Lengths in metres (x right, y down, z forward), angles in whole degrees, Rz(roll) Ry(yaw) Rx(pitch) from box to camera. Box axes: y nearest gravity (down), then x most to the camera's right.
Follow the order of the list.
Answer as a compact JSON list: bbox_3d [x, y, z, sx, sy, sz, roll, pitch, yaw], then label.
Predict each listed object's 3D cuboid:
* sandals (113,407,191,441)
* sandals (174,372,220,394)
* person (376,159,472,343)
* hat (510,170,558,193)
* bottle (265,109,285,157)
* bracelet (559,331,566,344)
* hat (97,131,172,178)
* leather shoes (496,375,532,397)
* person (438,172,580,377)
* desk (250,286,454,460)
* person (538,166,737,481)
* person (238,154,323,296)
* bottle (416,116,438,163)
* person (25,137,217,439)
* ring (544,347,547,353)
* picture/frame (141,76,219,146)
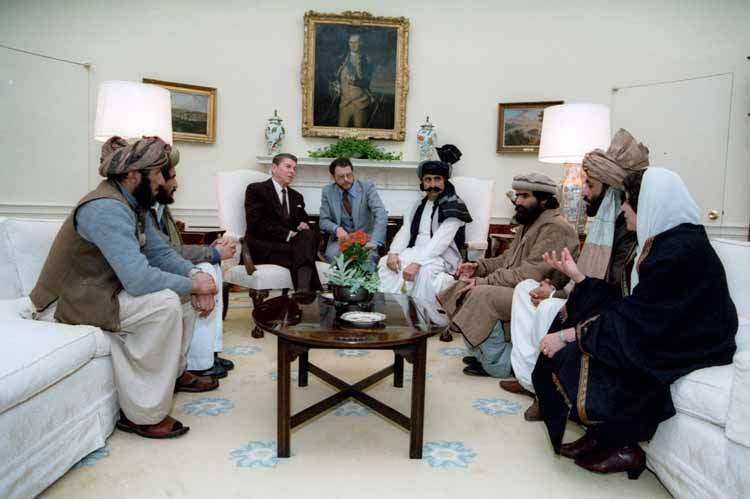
[{"bbox_3d":[-1.391,1.073,3.219,0.361,0.151,0.174,2,-2,1],"label":"sandals"},{"bbox_3d":[-1.285,0.960,3.743,0.340,0.133,0.119,-2,7,-4],"label":"sandals"},{"bbox_3d":[0.422,-0.026,5.106,0.992,1.536,0.907,3,15,10],"label":"person"},{"bbox_3d":[1.256,-0.539,4.240,0.221,0.095,0.236,5,5,-30],"label":"hat"},{"bbox_3d":[-1.228,-1.418,6.344,0.224,0.526,0.281,-2,13,-12],"label":"bottle"},{"bbox_3d":[1.124,0.525,3.129,0.015,0.055,0.057,-11,-26,12],"label":"bracelet"},{"bbox_3d":[-1.600,-0.630,3.419,0.457,0.224,0.389,-10,6,-39],"label":"hat"},{"bbox_3d":[1.040,1.020,3.897,0.243,0.104,0.085,17,17,36],"label":"leather shoes"},{"bbox_3d":[1.171,0.189,4.419,1.126,1.637,0.903,3,9,-4],"label":"person"},{"bbox_3d":[-0.157,0.803,3.500,1.274,0.773,1.256,-3,9,-31],"label":"desk"},{"bbox_3d":[1.543,0.448,3.259,1.145,1.789,0.899,1,3,6],"label":"person"},{"bbox_3d":[-0.920,-0.292,5.123,0.708,1.250,0.923,-2,13,-12],"label":"person"},{"bbox_3d":[0.649,-1.368,6.437,0.245,0.534,0.356,2,13,5],"label":"bottle"},{"bbox_3d":[-1.521,0.186,3.517,1.178,1.788,1.283,11,9,40],"label":"person"},{"bbox_3d":[1.035,0.612,3.158,0.022,0.022,0.023,1,-9,0],"label":"ring"},{"bbox_3d":[-2.276,-1.613,6.258,0.730,0.618,0.039,7,11,7],"label":"picture/frame"}]
